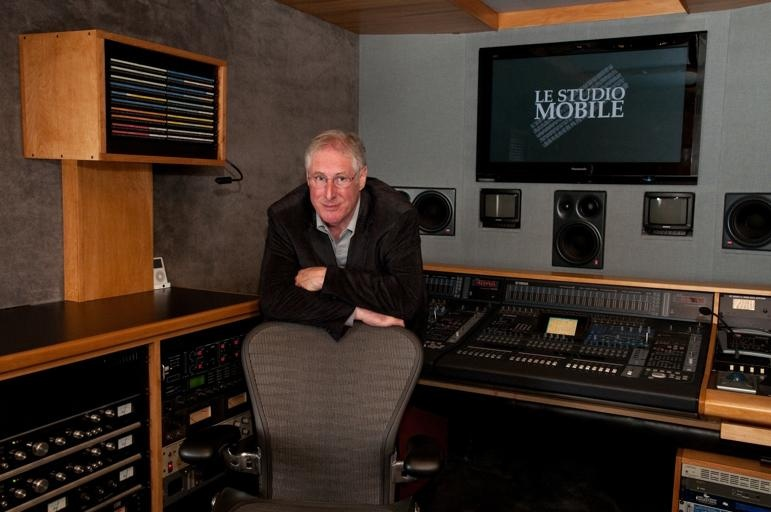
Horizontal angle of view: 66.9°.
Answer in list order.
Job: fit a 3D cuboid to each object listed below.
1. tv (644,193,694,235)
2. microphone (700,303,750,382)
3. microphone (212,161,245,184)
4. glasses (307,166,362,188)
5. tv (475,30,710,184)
[{"bbox_3d":[1.751,-0.258,3.696,0.350,0.327,0.245,1,4,27],"label":"tv"},{"bbox_3d":[1.709,0.431,2.943,0.200,0.122,0.342,-11,35,37],"label":"microphone"},{"bbox_3d":[-0.917,-0.481,3.381,0.134,0.142,0.274,0,13,-2],"label":"microphone"},{"bbox_3d":[-0.242,-0.355,2.705,0.224,0.071,0.070,0,13,-6],"label":"glasses"},{"bbox_3d":[1.369,-0.961,3.714,1.085,0.667,0.078,3,5,24],"label":"tv"}]
